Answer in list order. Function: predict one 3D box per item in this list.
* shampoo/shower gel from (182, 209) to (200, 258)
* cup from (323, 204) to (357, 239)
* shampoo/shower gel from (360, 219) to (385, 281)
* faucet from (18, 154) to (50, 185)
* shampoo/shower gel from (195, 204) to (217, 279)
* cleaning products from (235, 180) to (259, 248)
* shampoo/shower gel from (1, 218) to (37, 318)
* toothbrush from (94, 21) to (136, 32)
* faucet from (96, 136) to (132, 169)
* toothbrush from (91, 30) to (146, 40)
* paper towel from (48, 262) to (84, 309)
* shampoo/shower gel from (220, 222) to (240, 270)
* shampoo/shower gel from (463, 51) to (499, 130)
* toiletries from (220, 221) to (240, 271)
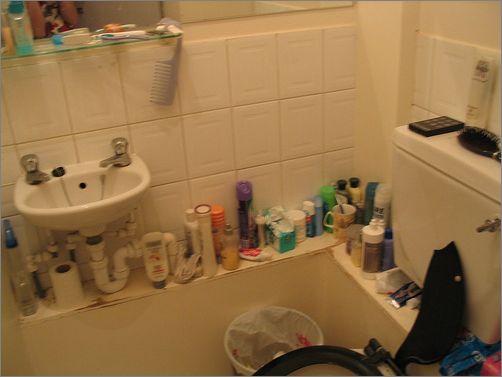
[{"bbox_3d":[-0.258,0.195,1.715,0.070,0.271,0.114,-12,27,-20],"label":"shampoo/shower gel"},{"bbox_3d":[0.435,0.153,1.925,0.129,0.168,0.105,1,30,-5],"label":"cup"},{"bbox_3d":[0.499,0.256,1.646,0.105,0.254,0.084,0,22,10],"label":"shampoo/shower gel"},{"bbox_3d":[-0.843,-0.080,1.514,0.082,0.106,0.121,-23,30,-30],"label":"faucet"},{"bbox_3d":[-0.191,0.233,1.691,0.120,0.276,0.116,-2,27,-11],"label":"shampoo/shower gel"},{"bbox_3d":[-0.021,0.128,1.874,0.119,0.318,0.090,-11,21,-22],"label":"cleaning products"},{"bbox_3d":[-0.944,0.318,1.580,0.072,0.383,0.163,-12,27,-11],"label":"shampoo/shower gel"},{"bbox_3d":[-0.516,-0.615,1.492,0.111,0.024,0.053,-3,35,3],"label":"toothbrush"},{"bbox_3d":[-0.541,-0.141,1.578,0.126,0.113,0.132,-6,28,-18],"label":"faucet"},{"bbox_3d":[-0.495,-0.576,1.466,0.159,0.021,0.035,-5,23,-13],"label":"toothbrush"},{"bbox_3d":[-0.765,0.399,1.614,0.109,0.179,0.118,-23,30,-34],"label":"paper towel"},{"bbox_3d":[-0.097,0.268,1.799,0.093,0.202,0.100,-2,15,5],"label":"shampoo/shower gel"},{"bbox_3d":[0.771,-0.323,1.321,0.042,0.201,0.096,-12,31,-22],"label":"shampoo/shower gel"},{"bbox_3d":[-0.096,0.259,1.792,0.089,0.206,0.080,-20,24,-41],"label":"toiletries"}]
